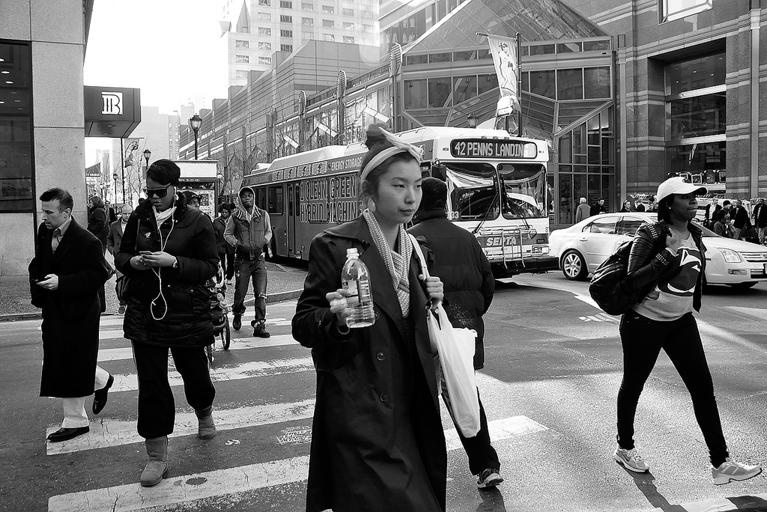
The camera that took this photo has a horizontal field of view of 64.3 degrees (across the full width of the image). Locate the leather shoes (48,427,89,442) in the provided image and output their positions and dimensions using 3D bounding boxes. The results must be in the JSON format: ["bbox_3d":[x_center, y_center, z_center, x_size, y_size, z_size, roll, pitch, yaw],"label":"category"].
[{"bbox_3d":[-3.435,1.884,6.615,0.367,0.158,0.135,-1,7,-42],"label":"leather shoes"}]

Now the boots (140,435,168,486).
[{"bbox_3d":[-2.152,1.888,5.679,0.194,0.383,0.523,-2,-1,-5],"label":"boots"}]

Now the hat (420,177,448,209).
[{"bbox_3d":[0.480,-0.597,5.797,0.248,0.330,0.330,8,11,34],"label":"hat"}]

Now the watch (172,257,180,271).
[{"bbox_3d":[-1.988,0.077,5.812,0.023,0.101,0.071,4,6,27],"label":"watch"}]

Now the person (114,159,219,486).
[{"bbox_3d":[-2.073,0.560,5.952,0.900,2.969,0.753,-5,7,-37],"label":"person"}]

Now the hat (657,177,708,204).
[{"bbox_3d":[2.675,-0.604,5.579,0.453,0.245,0.325,-12,-3,40],"label":"hat"}]

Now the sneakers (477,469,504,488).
[{"bbox_3d":[0.955,1.984,5.439,0.110,0.132,0.276,-10,-20,-12],"label":"sneakers"}]

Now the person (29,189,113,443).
[{"bbox_3d":[-3.398,0.602,6.655,0.785,2.684,0.676,-4,6,-31],"label":"person"}]

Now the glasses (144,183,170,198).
[{"bbox_3d":[-2.194,-0.617,5.842,0.224,0.117,0.105,0,6,13],"label":"glasses"}]

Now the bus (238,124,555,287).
[{"bbox_3d":[-0.806,-1.946,22.625,4.530,4.571,16.666,-3,4,-28],"label":"bus"}]

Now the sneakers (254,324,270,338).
[{"bbox_3d":[-2.236,1.345,11.107,0.429,0.234,0.207,5,8,44],"label":"sneakers"}]

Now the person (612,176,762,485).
[{"bbox_3d":[2.648,0.654,5.512,0.998,2.701,0.483,1,6,22],"label":"person"}]

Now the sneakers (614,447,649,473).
[{"bbox_3d":[2.309,1.891,5.753,0.133,0.167,0.335,-15,19,-41],"label":"sneakers"}]

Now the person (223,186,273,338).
[{"bbox_3d":[-2.539,0.086,11.504,0.813,2.735,1.359,-3,6,-24],"label":"person"}]
